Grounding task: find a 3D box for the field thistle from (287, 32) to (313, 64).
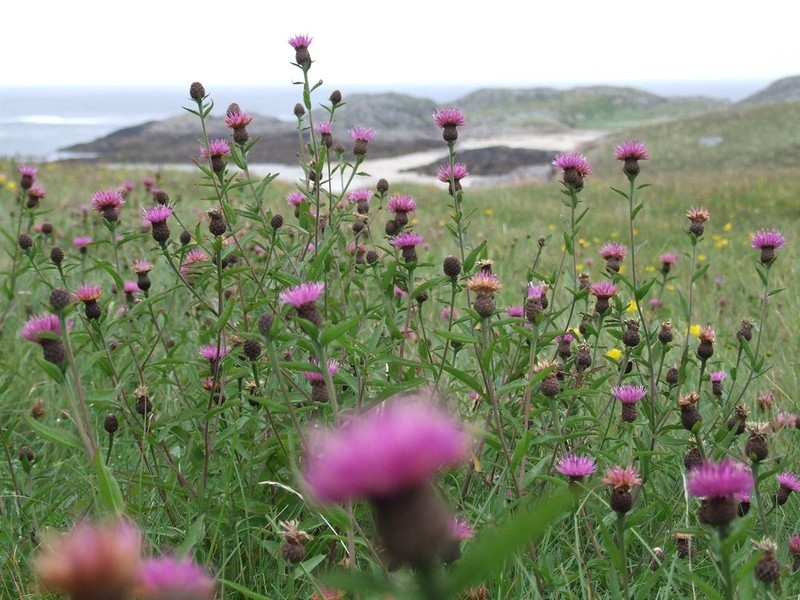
[{"bbox_3d":[-0.555,-1.390,4.583,0.124,0.194,0.524,-5,21,-6],"label":"field thistle"}]
